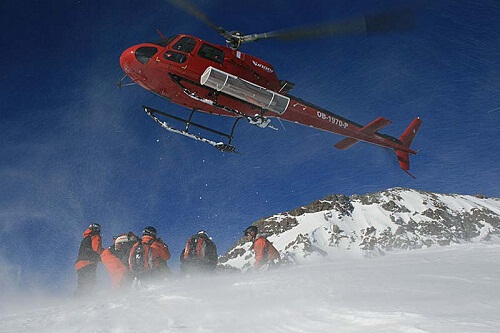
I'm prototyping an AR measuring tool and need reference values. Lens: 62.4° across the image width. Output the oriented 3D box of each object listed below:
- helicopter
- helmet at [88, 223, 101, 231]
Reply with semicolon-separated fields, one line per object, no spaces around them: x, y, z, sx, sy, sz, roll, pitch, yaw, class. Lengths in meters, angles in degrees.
1.965;-4.353;20.658;15.087;3.669;9.115;18;-7;-12;helicopter
-7.476;2.957;19.756;0.530;0.366;0.182;-3;6;9;helmet
